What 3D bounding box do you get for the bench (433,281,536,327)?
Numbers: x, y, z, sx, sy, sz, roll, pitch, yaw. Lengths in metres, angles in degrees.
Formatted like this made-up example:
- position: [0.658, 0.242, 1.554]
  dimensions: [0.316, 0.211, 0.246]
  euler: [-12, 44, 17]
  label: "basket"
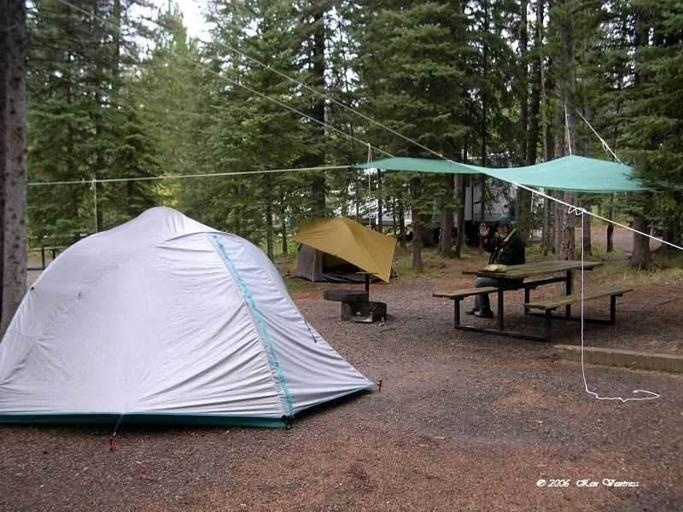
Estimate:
- position: [2.511, 0.825, 11.344]
  dimensions: [2.199, 0.578, 0.536]
  euler: [-8, -14, -40]
  label: "bench"
